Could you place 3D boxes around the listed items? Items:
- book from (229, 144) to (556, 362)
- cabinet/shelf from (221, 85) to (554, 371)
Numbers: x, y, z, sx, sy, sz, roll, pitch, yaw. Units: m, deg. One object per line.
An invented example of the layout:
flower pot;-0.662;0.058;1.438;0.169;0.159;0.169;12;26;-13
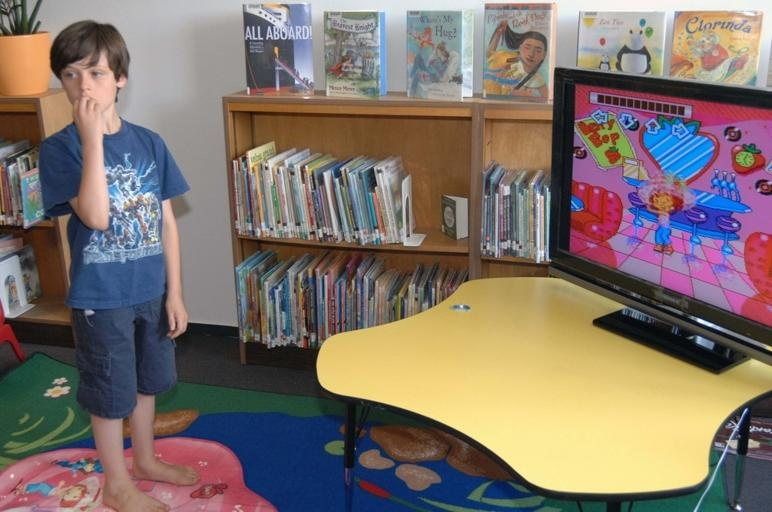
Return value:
book;0.049;-0.055;2.865;1.166;0.763;0.294;3;12;12
cabinet/shelf;0.035;-0.189;2.885;1.531;1.232;0.387;3;14;14
